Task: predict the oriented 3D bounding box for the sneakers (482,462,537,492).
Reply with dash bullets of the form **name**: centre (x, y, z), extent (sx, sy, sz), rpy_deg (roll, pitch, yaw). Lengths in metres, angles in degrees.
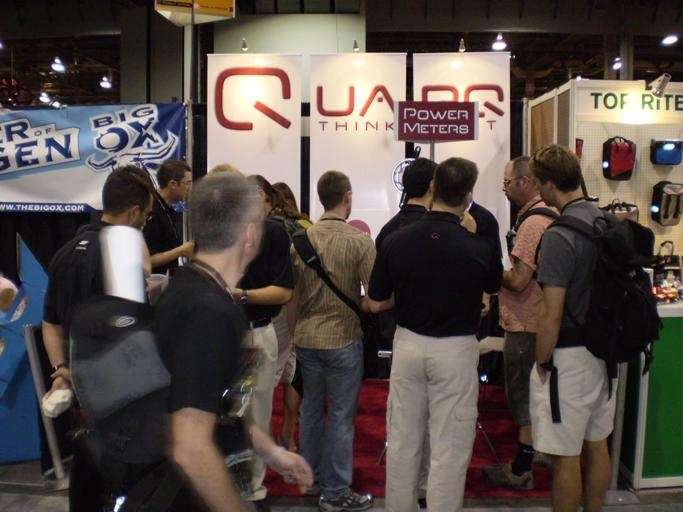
- **sneakers**: centre (1.044, 1.383, 3.889), extent (0.247, 0.115, 0.137), rpy_deg (5, 2, 28)
